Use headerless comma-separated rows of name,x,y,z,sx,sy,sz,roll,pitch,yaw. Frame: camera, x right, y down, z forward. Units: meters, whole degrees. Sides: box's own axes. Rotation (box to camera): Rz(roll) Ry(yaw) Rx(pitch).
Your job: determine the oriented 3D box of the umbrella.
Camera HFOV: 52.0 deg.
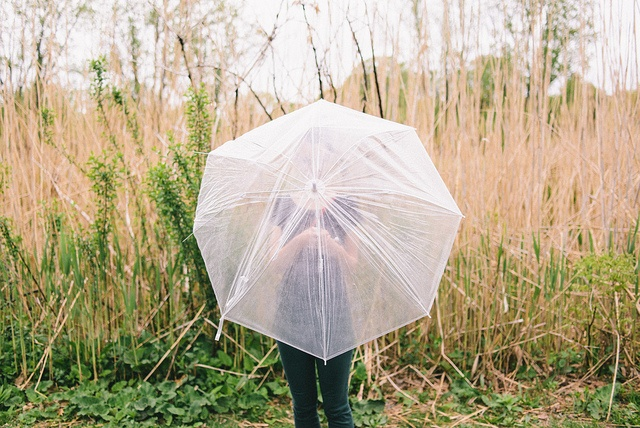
umbrella,0.165,0.137,5.619,1.770,1.863,1.344,-26,-4,4
